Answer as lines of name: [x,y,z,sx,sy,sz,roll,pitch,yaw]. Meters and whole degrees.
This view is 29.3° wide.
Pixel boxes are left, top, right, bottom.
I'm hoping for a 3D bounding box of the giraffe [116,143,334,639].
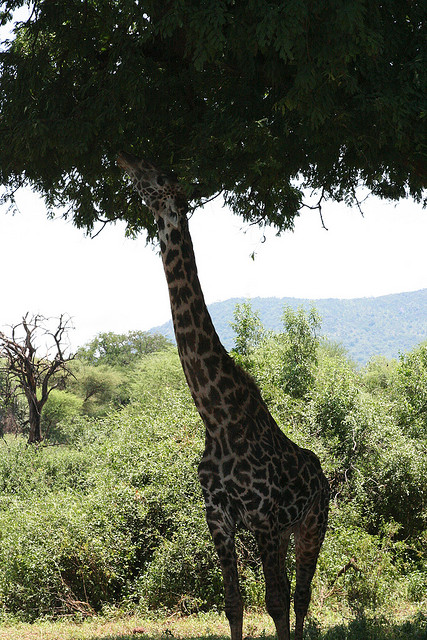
giraffe: [0.149,0.665,7.633,0.862,4.376,2.162,-13,-18,41]
